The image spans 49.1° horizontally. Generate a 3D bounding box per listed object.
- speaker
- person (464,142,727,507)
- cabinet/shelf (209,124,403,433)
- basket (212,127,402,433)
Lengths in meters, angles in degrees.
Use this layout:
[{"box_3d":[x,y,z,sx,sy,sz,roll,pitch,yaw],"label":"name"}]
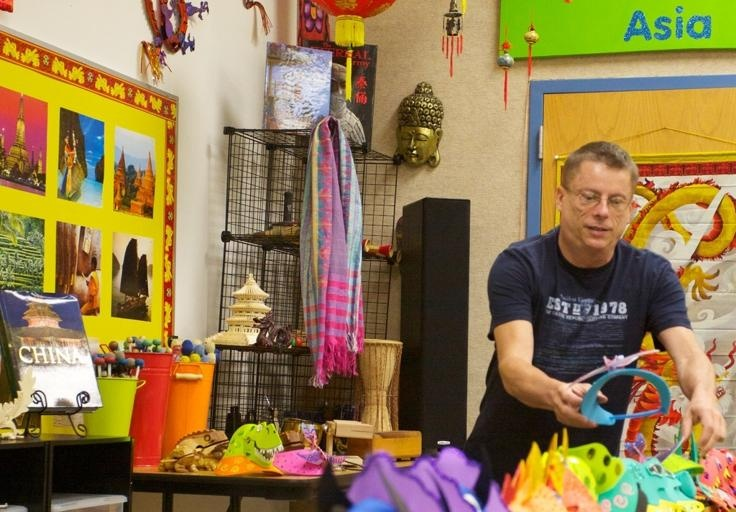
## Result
[{"box_3d":[0.325,0.318,4.209,0.391,1.255,0.414,1,-3,12],"label":"speaker"},{"box_3d":[0.658,0.160,2.424,0.707,1.019,0.667,1,-3,6],"label":"person"},{"box_3d":[-0.372,0.124,4.205,0.653,1.427,0.404,1,7,-43],"label":"cabinet/shelf"},{"box_3d":[-0.305,0.097,4.201,0.538,1.474,1.231,-1,-4,31],"label":"basket"}]
